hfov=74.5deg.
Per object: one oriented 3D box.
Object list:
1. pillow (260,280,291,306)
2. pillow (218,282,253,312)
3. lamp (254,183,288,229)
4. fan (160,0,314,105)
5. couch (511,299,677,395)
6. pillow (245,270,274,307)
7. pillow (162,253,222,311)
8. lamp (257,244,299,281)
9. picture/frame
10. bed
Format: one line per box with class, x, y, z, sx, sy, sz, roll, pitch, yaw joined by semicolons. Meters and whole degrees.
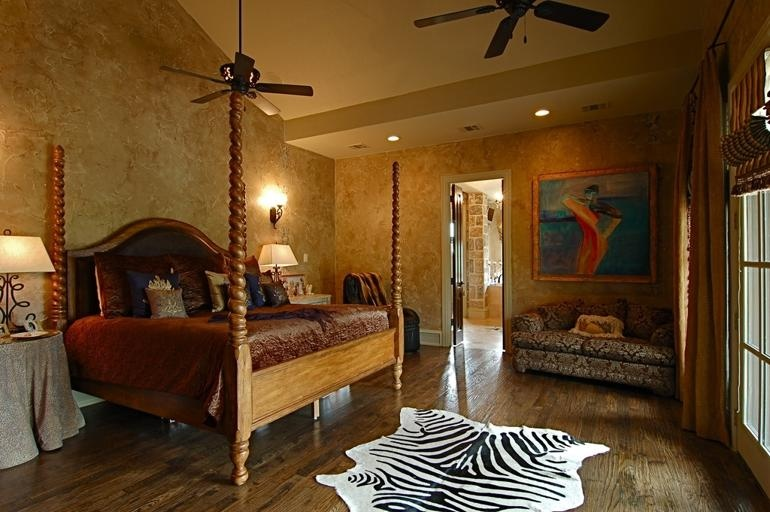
pillow;-1.404;0.477;6.391;0.100;0.277;0.315;-28;-12;25
pillow;-1.823;0.446;5.885;0.497;0.427;0.171;1;-16;-9
lamp;-1.773;-0.753;7.707;0.253;0.696;0.793;-1;-2;22
fan;-1.643;-2.264;5.490;1.143;1.064;1.905;-5;2;-25
couch;2.671;1.182;6.477;1.846;0.910;0.815;-3;2;27
pillow;-1.564;0.404;6.233;0.127;0.363;0.415;-18;-5;23
pillow;-2.358;0.334;6.108;0.212;0.612;0.726;-30;-19;37
lamp;-1.631;0.103;7.530;0.591;0.723;0.575;-1;-1;-40
picture/frame;2.981;-0.454;7.046;1.901;1.736;0.127;1;0;31
bed;-1.714;0.229;5.745;2.436;3.290;2.757;-3;2;39
